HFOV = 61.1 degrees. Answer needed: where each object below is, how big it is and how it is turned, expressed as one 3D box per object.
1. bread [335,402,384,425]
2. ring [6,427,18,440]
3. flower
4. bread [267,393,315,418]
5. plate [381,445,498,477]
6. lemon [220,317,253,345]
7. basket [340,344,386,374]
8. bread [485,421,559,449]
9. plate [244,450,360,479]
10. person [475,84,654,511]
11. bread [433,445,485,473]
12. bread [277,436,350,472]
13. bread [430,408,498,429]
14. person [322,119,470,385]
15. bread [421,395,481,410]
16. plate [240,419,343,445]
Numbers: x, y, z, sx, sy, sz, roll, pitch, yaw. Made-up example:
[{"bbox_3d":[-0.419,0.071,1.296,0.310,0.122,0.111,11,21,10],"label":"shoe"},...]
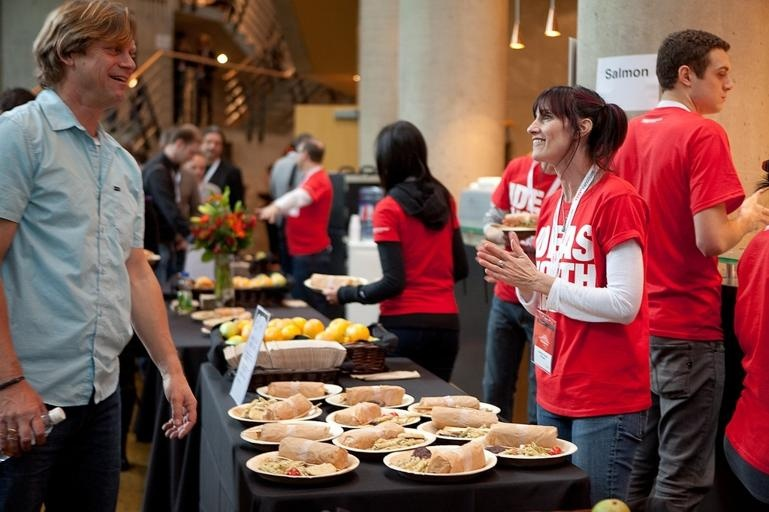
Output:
[{"bbox_3d":[-0.094,0.519,2.194,0.105,0.038,0.075,-2,2,-33],"label":"bread"},{"bbox_3d":[-1.007,0.487,1.770,0.023,0.023,0.023,0,-8,0],"label":"ring"},{"bbox_3d":[-1.032,-0.201,4.170,0.393,0.454,0.294,-5,8,-15],"label":"flower"},{"bbox_3d":[-0.319,0.519,2.222,0.110,0.044,0.066,-12,35,-43],"label":"bread"},{"bbox_3d":[0.166,0.592,1.871,0.168,0.061,0.157,2,-5,-30],"label":"plate"},{"bbox_3d":[-0.644,0.327,2.816,0.121,0.057,0.095,-5,-23,19],"label":"lemon"},{"bbox_3d":[-0.099,0.421,2.688,0.127,0.061,0.150,1,1,3],"label":"basket"},{"bbox_3d":[0.425,0.550,1.993,0.159,0.057,0.091,1,8,-1],"label":"bread"},{"bbox_3d":[-0.242,0.616,1.881,0.319,0.053,0.138,-2,7,6],"label":"plate"},{"bbox_3d":[0.623,0.414,2.332,0.604,1.941,0.582,-2,4,7],"label":"person"},{"bbox_3d":[0.212,0.566,1.857,0.111,0.044,0.081,0,-1,-19],"label":"bread"},{"bbox_3d":[-0.212,0.559,1.895,0.178,0.058,0.083,10,-5,20],"label":"bread"},{"bbox_3d":[0.253,0.533,2.130,0.170,0.054,0.088,2,-1,-3],"label":"bread"},{"bbox_3d":[0.082,0.251,3.358,0.649,1.765,0.561,-9,21,-23],"label":"person"},{"bbox_3d":[0.226,0.506,2.267,0.147,0.044,0.079,2,-1,5],"label":"bread"},{"bbox_3d":[-0.305,0.550,2.053,0.227,0.055,0.119,1,1,-10],"label":"plate"}]
